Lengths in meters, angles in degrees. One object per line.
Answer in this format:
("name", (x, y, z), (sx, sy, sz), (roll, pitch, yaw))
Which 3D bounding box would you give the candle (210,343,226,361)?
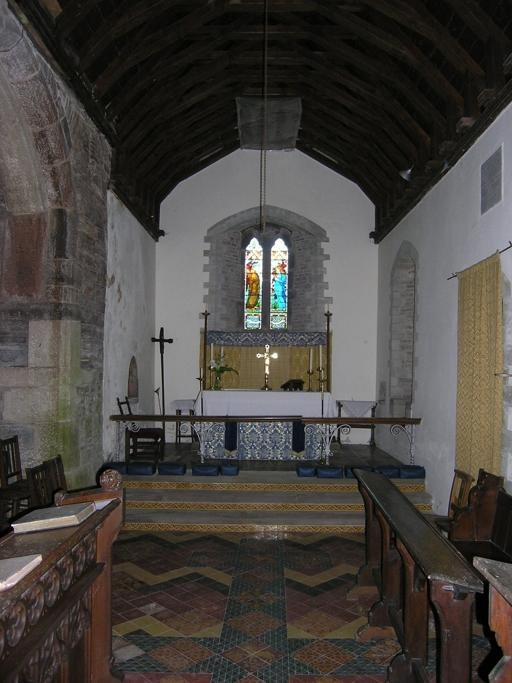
("candle", (-0.654, 0.175, 9.535), (0.263, 0.358, 0.037), (9, -23, -25))

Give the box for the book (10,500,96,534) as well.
("book", (-0.756, 0.656, 2.170), (0.277, 0.042, 0.296), (1, -1, -13))

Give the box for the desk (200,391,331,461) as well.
("desk", (0.112, 1.033, 6.893), (1.534, 0.857, 0.485), (1, -1, 6))

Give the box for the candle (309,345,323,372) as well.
("candle", (1.028, 0.333, 9.893), (0.273, 0.520, 0.289), (0, -1, 10))
